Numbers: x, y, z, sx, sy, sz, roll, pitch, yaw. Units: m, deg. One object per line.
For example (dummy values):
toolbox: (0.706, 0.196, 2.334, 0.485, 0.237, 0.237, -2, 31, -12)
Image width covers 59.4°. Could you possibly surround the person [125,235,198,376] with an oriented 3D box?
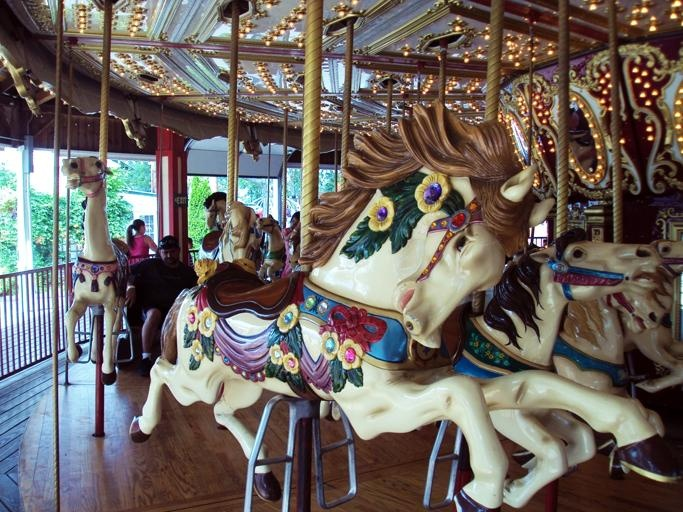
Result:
person: (-2.023, 0.533, 6.848, 0.756, 1.584, 0.773, 3, -3, -16)
